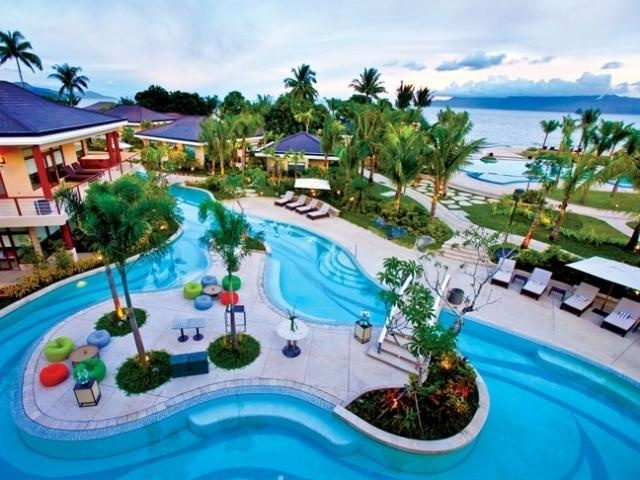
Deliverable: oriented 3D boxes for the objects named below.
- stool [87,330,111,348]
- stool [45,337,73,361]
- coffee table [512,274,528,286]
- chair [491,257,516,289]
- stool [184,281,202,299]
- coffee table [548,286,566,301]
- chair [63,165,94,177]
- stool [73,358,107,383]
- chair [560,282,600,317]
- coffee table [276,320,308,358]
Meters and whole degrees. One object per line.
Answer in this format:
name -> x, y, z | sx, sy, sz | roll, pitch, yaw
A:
stool -> -10.062, 4.494, 16.800 | 0.822, 0.587, 0.824 | 6, 24, 7
stool -> -11.450, 4.902, 16.359 | 0.964, 1.000, 0.998 | -10, 37, -25
coffee table -> 12.267, 2.313, 22.518 | 0.766, 0.621, 0.747 | 19, -16, 36
chair -> 11.389, 1.839, 22.535 | 0.984, 1.433, 1.955 | 19, 28, 33
stool -> -6.755, 2.747, 19.671 | 1.015, 0.685, 0.805 | -7, 25, -21
coffee table -> 13.999, 3.233, 21.713 | 0.696, 0.625, 0.921 | -31, 37, -25
chair -> -18.183, -5.045, 27.528 | 1.529, 0.567, 1.207 | 6, 27, -10
stool -> -9.361, 5.295, 15.087 | 0.998, 1.089, 1.032 | 12, 37, -13
chair -> 14.514, 3.220, 20.580 | 2.481, 1.106, 1.272 | -35, 41, -18
coffee table -> -1.161, 4.322, 17.038 | 1.516, 1.621, 1.617 | 3, 31, 0
